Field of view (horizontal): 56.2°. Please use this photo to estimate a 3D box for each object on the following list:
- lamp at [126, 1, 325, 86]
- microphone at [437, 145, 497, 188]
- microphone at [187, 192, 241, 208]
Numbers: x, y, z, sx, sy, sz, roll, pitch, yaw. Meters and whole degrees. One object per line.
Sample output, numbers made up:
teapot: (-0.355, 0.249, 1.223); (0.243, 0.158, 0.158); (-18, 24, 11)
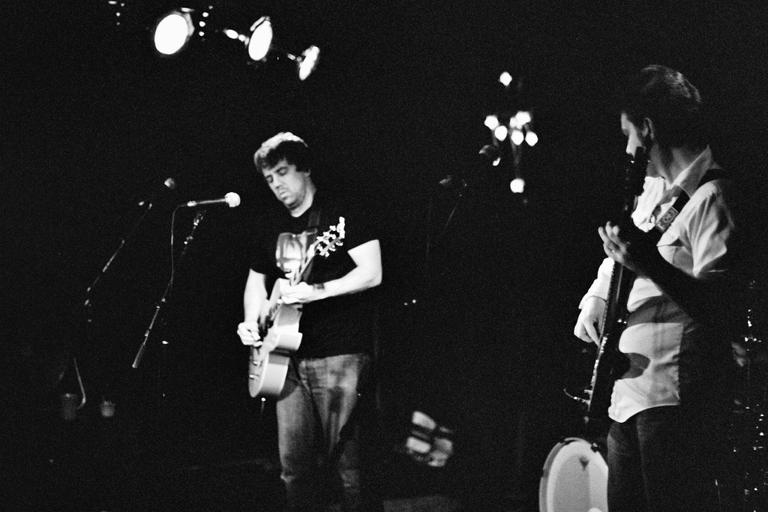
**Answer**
lamp: (-0.754, -1.093, 3.698); (0.740, 0.392, 0.123); (13, 4, 2)
microphone: (0.414, -0.431, 3.600); (0.317, 0.168, 0.046); (-34, -21, 1)
microphone: (-0.876, -0.275, 3.667); (0.284, 0.104, 0.094); (-2, 13, -3)
